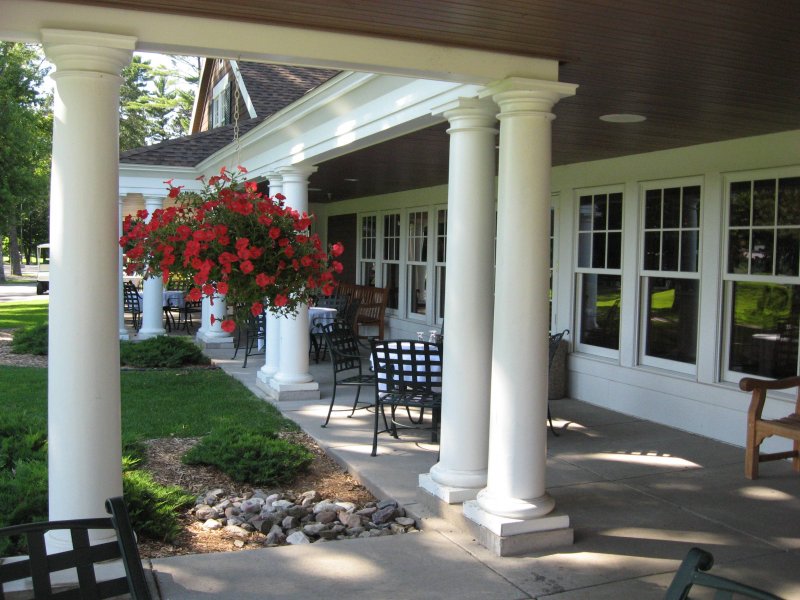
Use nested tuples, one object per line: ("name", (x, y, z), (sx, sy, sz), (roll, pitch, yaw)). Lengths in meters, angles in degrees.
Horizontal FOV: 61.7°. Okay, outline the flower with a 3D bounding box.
("flower", (-1.006, -0.306, 4.051), (1.295, 0.973, 0.675), (-2, 8, -17))
